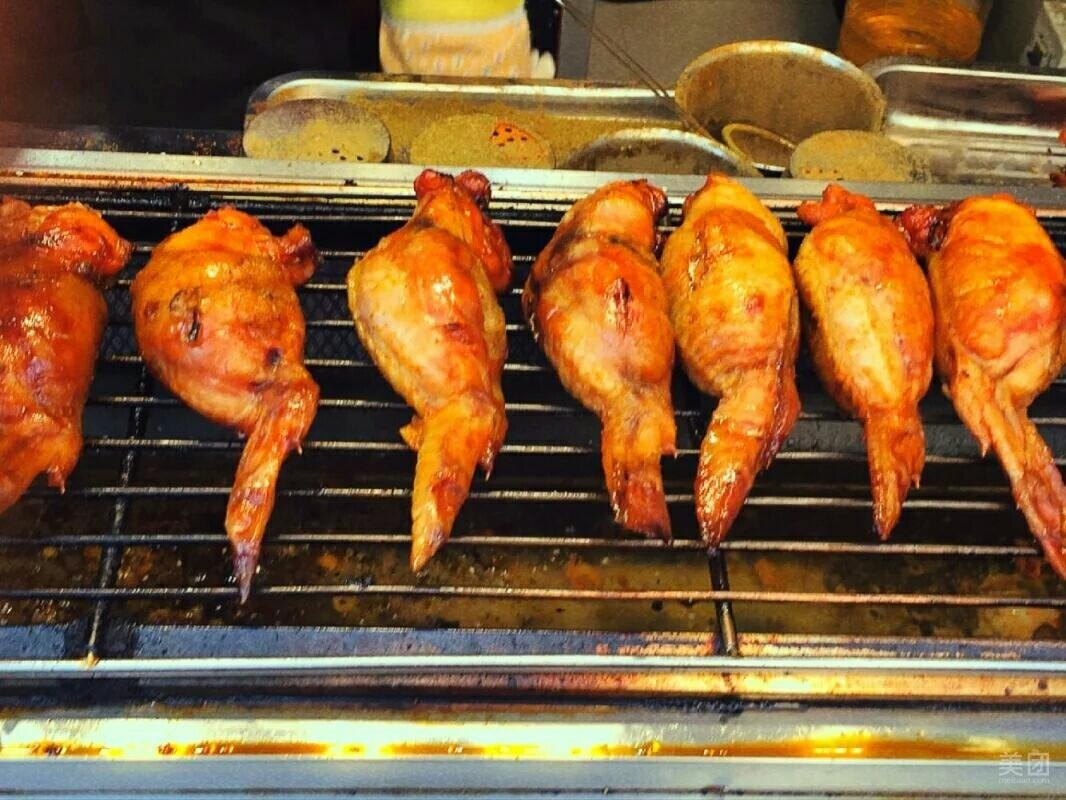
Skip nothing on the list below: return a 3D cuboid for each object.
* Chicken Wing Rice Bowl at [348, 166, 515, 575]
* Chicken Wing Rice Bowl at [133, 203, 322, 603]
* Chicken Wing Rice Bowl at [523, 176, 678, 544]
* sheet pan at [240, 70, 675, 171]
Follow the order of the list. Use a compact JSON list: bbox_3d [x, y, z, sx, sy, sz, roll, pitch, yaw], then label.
[{"bbox_3d":[-0.336,-0.185,4.673,0.617,1.558,0.484,6,-41,-12],"label":"Chicken Wing Rice Bowl"},{"bbox_3d":[-0.961,-0.166,4.582,0.640,1.360,0.401,-5,-40,-16],"label":"Chicken Wing Rice Bowl"},{"bbox_3d":[0.256,-0.229,4.770,0.536,1.543,0.482,-1,-38,-3],"label":"Chicken Wing Rice Bowl"},{"bbox_3d":[-0.310,-1.136,5.654,0.642,0.175,0.373,-18,45,-26],"label":"sheet pan"}]
